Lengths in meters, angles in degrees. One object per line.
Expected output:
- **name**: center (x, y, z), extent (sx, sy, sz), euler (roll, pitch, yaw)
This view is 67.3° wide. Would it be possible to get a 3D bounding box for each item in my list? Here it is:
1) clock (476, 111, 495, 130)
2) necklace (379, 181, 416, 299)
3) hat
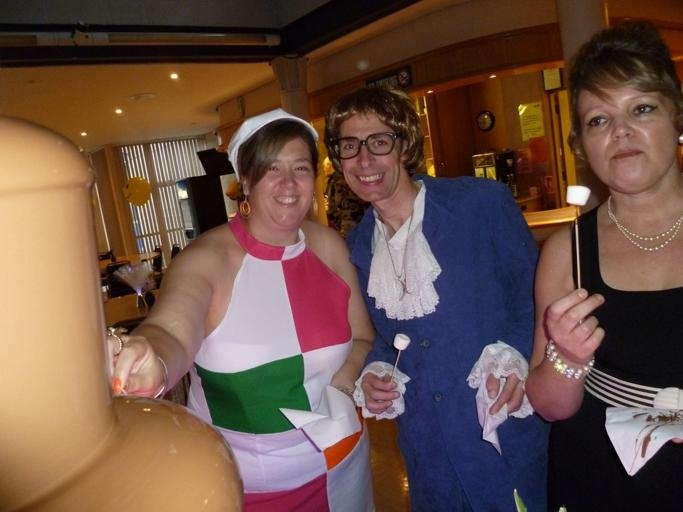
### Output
- **clock**: center (2.665, -2.507, 9.496), extent (0.329, 0.351, 0.059), euler (-4, 4, 44)
- **necklace**: center (0.183, -0.049, 1.681), extent (0.106, 0.379, 0.019), euler (-6, 12, 4)
- **hat**: center (-0.246, -0.347, 1.567), extent (0.220, 0.120, 0.278), euler (-34, 17, 10)
